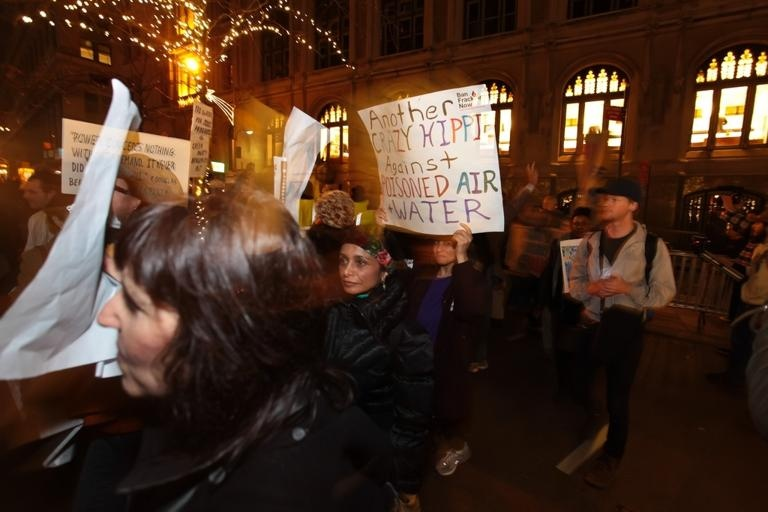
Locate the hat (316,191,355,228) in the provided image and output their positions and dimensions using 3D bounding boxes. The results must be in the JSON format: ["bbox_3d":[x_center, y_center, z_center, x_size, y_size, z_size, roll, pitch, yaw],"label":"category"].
[{"bbox_3d":[-0.391,-0.388,4.108,0.278,0.343,0.319,-1,7,-27],"label":"hat"}]

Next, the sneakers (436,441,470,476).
[{"bbox_3d":[0.706,2.016,4.895,0.218,0.360,0.148,46,20,15],"label":"sneakers"}]
